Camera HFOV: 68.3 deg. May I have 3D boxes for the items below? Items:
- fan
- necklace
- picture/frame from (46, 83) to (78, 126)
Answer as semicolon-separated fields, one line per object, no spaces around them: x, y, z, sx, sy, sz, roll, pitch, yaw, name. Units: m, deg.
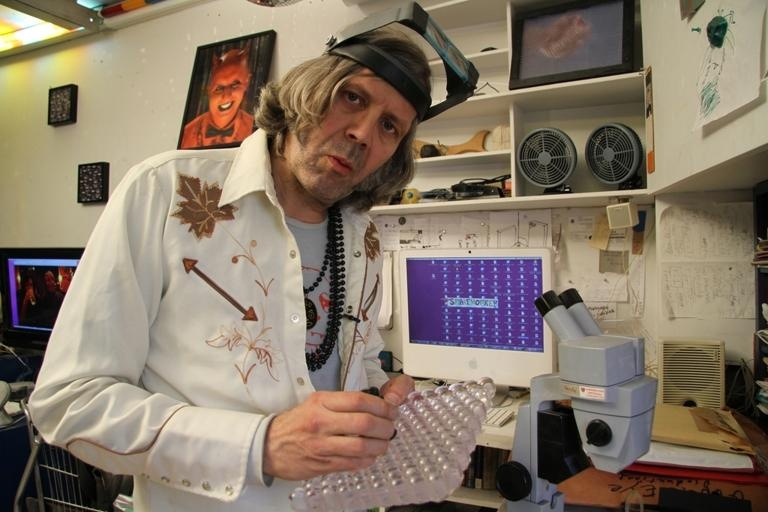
0.935;-0.459;2.676;0.371;0.242;0.128;-1;-2;17;fan
-0.190;0.113;1.971;0.073;0.440;0.232;-1;-11;24;necklace
-2.159;-1.018;3.833;0.285;0.357;0.079;-1;-1;24;picture/frame
